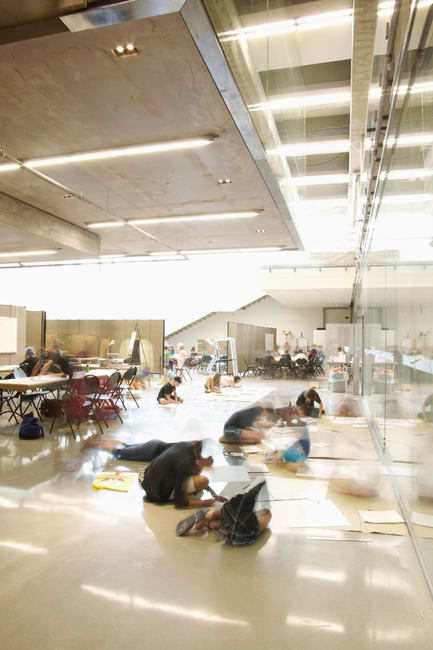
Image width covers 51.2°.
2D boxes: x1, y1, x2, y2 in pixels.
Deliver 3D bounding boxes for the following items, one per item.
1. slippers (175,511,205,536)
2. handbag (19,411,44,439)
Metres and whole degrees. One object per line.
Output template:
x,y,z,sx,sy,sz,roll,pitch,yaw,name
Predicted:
-0.173,1.368,3.107,0.234,0.104,0.181,1,-2,-13,slippers
-2.476,1.334,5.994,0.235,0.151,0.378,7,5,-35,handbag
